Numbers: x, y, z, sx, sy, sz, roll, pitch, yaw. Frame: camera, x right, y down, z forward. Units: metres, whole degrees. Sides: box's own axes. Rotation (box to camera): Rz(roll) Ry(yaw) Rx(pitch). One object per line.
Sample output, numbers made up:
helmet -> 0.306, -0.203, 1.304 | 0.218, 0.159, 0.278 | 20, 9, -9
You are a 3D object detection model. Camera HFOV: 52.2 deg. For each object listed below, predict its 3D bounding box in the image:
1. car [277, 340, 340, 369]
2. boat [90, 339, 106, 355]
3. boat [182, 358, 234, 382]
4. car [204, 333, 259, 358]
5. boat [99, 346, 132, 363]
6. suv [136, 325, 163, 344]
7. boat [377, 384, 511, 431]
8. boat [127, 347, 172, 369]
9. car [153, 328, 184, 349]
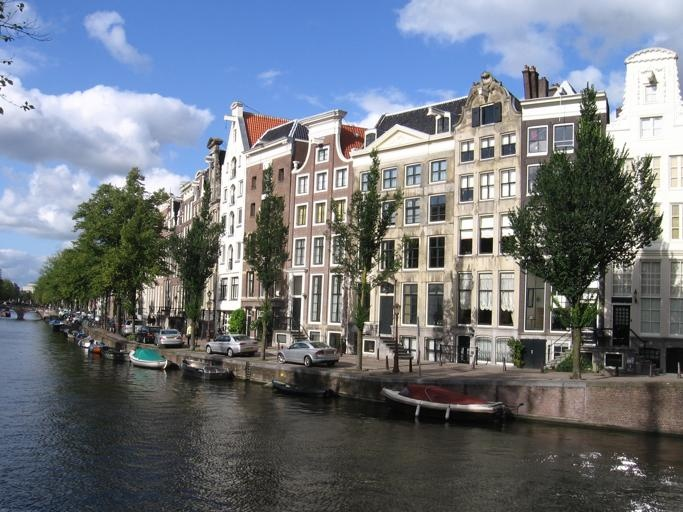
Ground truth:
car -> -2.363, 7.026, 50.087 | 3.905, 1.466, 1.709 | -2, -6, 44
boat -> -24.749, 9.408, 70.936 | 0.965, 1.380, 3.396 | 2, -12, -23
boat -> -10.278, 8.832, 53.722 | 2.213, 1.525, 4.772 | 10, -12, -36
car -> -9.064, 7.426, 57.651 | 3.833, 1.379, 1.801 | -2, -7, 41
boat -> -22.125, 9.584, 67.851 | 1.361, 0.733, 4.478 | 4, -2, -28
suv -> -19.739, 8.090, 71.525 | 1.556, 1.349, 3.522 | 1, -2, -29
boat -> 5.612, 8.290, 38.506 | 5.451, 1.535, 2.595 | -1, -3, 32
boat -> -16.302, 8.842, 59.877 | 1.565, 1.868, 4.926 | 10, -12, -40
car -> -16.454, 7.880, 66.460 | 3.026, 1.899, 1.859 | -5, -12, 42
